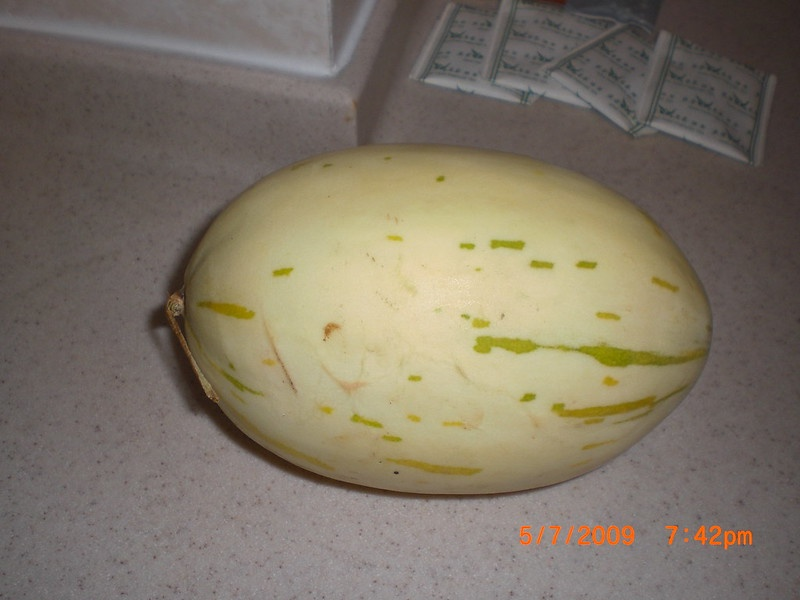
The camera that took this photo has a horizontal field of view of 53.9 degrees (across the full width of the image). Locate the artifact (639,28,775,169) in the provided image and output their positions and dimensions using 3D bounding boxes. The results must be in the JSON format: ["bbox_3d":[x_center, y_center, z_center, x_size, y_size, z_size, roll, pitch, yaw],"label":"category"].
[{"bbox_3d":[0.517,-0.338,1.326,0.243,0.056,0.195,24,77,1],"label":"artifact"}]

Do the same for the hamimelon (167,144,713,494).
[{"bbox_3d":[0.058,0.052,1.099,0.681,0.396,0.429,1,51,-3],"label":"hamimelon"}]
